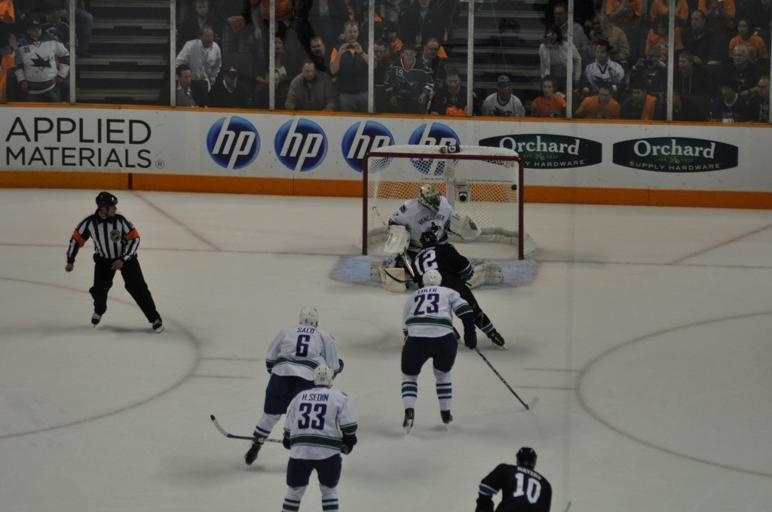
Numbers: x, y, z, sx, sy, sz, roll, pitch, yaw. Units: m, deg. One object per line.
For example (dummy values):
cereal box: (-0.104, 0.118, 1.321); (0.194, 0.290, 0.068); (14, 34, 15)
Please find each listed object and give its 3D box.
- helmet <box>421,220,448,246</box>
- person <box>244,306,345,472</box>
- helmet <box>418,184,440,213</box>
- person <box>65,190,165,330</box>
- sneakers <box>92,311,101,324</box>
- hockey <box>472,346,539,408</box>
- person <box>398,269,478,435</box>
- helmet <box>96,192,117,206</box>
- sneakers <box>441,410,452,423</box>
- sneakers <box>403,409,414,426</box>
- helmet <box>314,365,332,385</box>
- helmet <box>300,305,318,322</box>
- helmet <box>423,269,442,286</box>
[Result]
helmet: (0.666, -0.302, 15.307); (0.270, 0.393, 0.343); (20, 26, 26)
person: (-1.079, 1.555, 12.928); (0.853, 0.756, 2.123); (8, 59, 8)
helmet: (0.656, -0.869, 15.635); (0.352, 0.355, 0.281); (20, 26, 4)
person: (-3.633, 0.022, 14.796); (1.164, 1.994, 0.776); (1, 22, 4)
sneakers: (-4.011, 0.862, 15.122); (0.104, 0.241, 0.061); (4, 6, 3)
hockey: (1.579, 1.629, 14.418); (0.998, 0.146, 0.144); (44, 42, 2)
person: (0.633, 1.166, 13.415); (0.868, 1.925, 0.570); (1, 8, -4)
helmet: (-3.703, -0.749, 14.463); (0.230, 0.169, 0.172); (1, 8, -10)
sneakers: (0.751, 1.956, 13.421); (0.147, 0.150, 0.139); (-3, 16, 11)
sneakers: (0.284, 1.956, 13.236); (0.088, 0.262, 0.112); (5, 51, -8)
helmet: (-0.707, 1.343, 12.375); (0.161, 0.211, 0.215); (2, 10, 2)
helmet: (-0.915, 0.696, 13.015); (0.148, 0.206, 0.198); (3, 15, 6)
helmet: (0.579, 0.256, 13.499); (0.159, 0.220, 0.195); (1, 31, 3)
